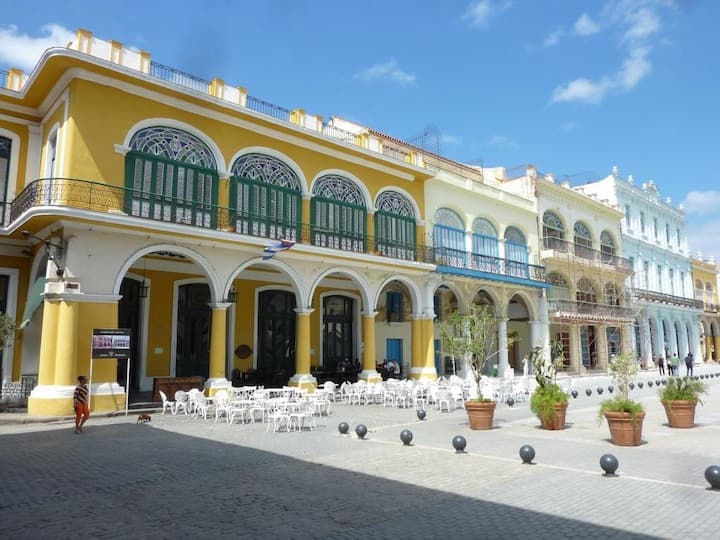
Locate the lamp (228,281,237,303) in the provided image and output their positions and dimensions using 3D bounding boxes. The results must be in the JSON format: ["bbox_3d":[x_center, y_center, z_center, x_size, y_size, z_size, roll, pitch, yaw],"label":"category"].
[{"bbox_3d":[-5.509,0.959,23.060,0.223,1.004,0.501,-11,-16,41],"label":"lamp"}]

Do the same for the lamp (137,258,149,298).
[{"bbox_3d":[-8.544,0.297,20.953,0.306,1.549,0.289,4,-13,-19],"label":"lamp"}]

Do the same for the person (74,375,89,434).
[{"bbox_3d":[-7.149,3.413,13.488,0.339,1.420,0.999,6,-14,-27],"label":"person"}]

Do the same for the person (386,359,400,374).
[{"bbox_3d":[1.742,4.906,26.897,0.649,0.758,1.106,5,-16,-15],"label":"person"}]
